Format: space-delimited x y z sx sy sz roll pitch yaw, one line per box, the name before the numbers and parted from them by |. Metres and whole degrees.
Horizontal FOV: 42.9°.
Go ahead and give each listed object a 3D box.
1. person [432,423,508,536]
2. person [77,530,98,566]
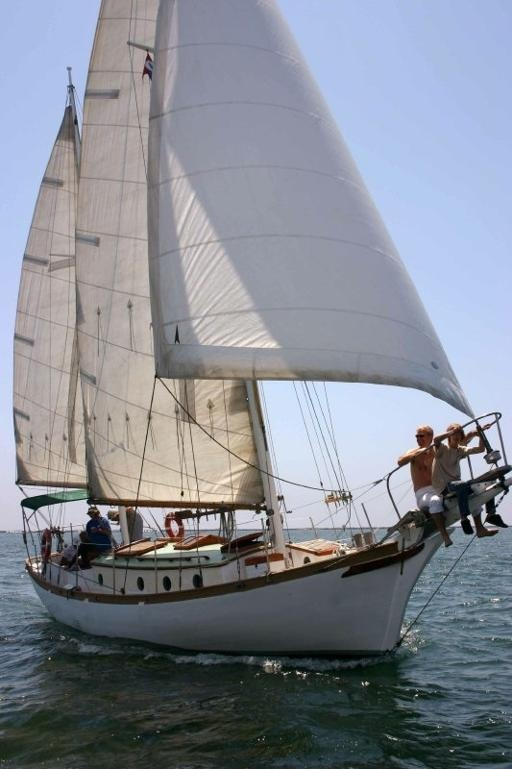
person | 2.636 1.203 8.185 0.823 1.493 2.807 -4 -10 14
person | -3.812 3.695 14.590 0.335 0.901 0.486 1 -6 -45
